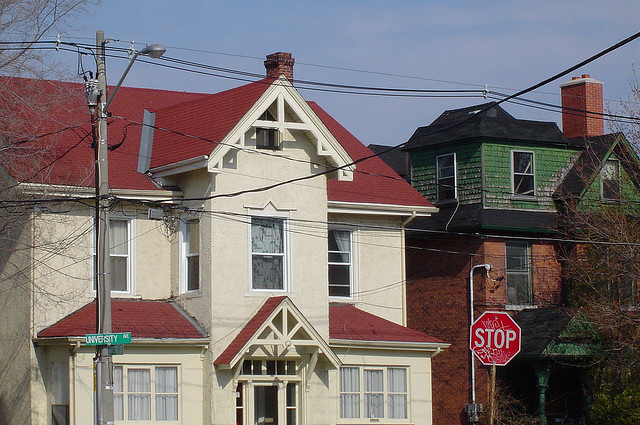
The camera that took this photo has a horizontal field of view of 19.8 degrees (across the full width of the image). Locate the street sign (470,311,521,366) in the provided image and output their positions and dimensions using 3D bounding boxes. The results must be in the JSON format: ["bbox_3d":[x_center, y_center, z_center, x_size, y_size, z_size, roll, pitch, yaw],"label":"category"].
[{"bbox_3d":[6.594,4.698,69.307,1.915,2.080,0.188,3,-22,3],"label":"street sign"}]
